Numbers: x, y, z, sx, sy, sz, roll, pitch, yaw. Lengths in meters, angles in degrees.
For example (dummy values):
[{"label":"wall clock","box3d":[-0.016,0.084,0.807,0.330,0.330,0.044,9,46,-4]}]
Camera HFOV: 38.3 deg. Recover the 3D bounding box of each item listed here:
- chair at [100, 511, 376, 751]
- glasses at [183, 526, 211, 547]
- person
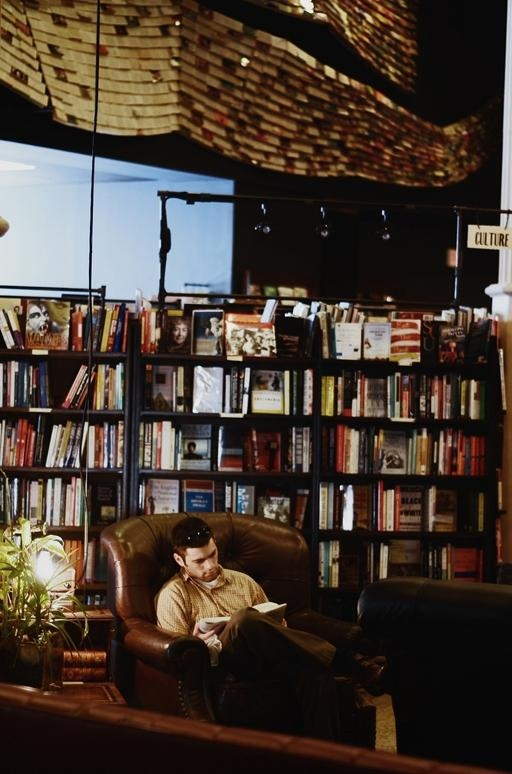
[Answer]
[{"label":"chair","box3d":[-0.079,0.886,2.551,0.818,0.924,0.871,10,-18,-39]},{"label":"glasses","box3d":[-0.208,0.520,2.558,0.071,0.056,0.025,-5,-19,4]},{"label":"person","box3d":[0.023,0.764,2.405,0.782,0.605,0.385,-2,14,38]}]
